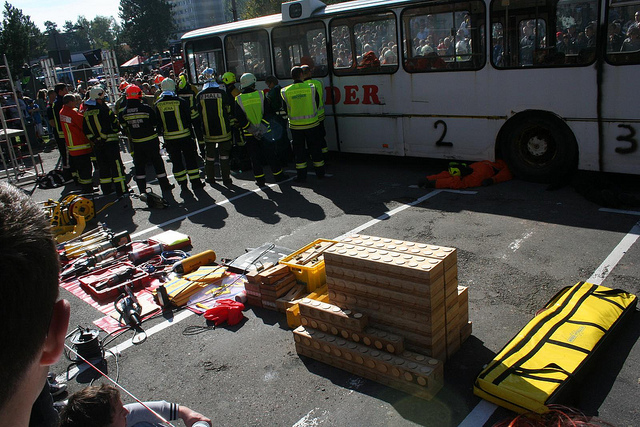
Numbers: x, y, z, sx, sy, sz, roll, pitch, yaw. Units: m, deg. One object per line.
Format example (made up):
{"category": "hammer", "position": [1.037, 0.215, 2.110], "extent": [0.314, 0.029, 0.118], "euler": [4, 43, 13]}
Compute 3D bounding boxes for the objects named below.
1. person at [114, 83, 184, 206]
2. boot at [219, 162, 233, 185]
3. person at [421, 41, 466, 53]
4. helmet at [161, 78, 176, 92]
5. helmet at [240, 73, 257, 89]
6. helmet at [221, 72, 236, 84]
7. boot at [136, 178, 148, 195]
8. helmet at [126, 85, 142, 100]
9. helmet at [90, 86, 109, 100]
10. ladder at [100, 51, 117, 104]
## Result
{"category": "person", "position": [-4.145, -1.720, 10.364], "extent": [1.318, 2.815, 0.883], "euler": [10, 27, 39]}
{"category": "boot", "position": [-2.529, -1.090, 11.373], "extent": [0.249, 0.729, 0.295], "euler": [-15, 59, -15]}
{"category": "person", "position": [2.810, -3.772, 9.525], "extent": [0.828, 0.244, 0.200], "euler": [4, -11, 32]}
{"category": "helmet", "position": [-3.785, -3.258, 10.617], "extent": [0.258, 0.306, 0.347], "euler": [-13, 14, -30]}
{"category": "helmet", "position": [-1.738, -3.222, 10.144], "extent": [0.372, 0.199, 0.290], "euler": [-11, 47, 32]}
{"category": "helmet", "position": [-2.400, -3.586, 11.045], "extent": [0.333, 0.281, 0.247], "euler": [26, 42, 22]}
{"category": "boot", "position": [-4.499, -0.741, 10.714], "extent": [0.219, 0.422, 0.494], "euler": [-17, 22, -21]}
{"category": "helmet", "position": [-4.531, -2.964, 10.292], "extent": [0.301, 0.355, 0.591], "euler": [-14, 21, -16]}
{"category": "helmet", "position": [-5.293, -2.940, 10.140], "extent": [0.237, 0.326, 0.326], "euler": [28, 52, 33]}
{"category": "ladder", "position": [-9.595, -6.249, 19.269], "extent": [0.442, 2.208, 0.839], "euler": [-17, 22, -22]}
